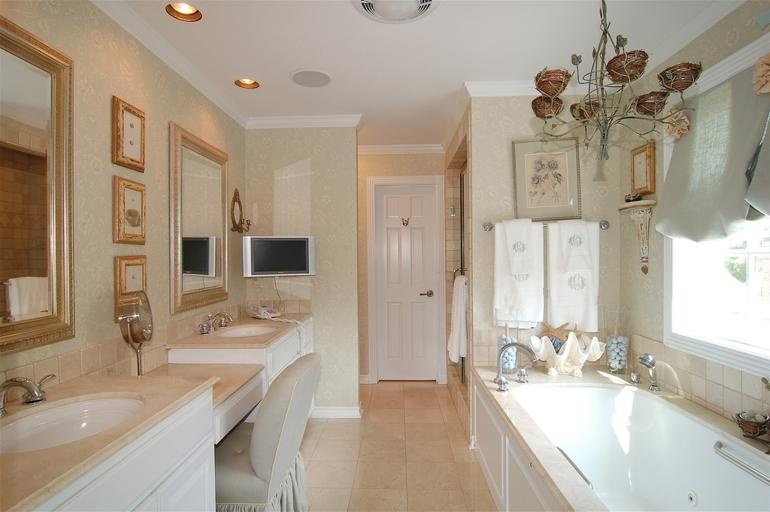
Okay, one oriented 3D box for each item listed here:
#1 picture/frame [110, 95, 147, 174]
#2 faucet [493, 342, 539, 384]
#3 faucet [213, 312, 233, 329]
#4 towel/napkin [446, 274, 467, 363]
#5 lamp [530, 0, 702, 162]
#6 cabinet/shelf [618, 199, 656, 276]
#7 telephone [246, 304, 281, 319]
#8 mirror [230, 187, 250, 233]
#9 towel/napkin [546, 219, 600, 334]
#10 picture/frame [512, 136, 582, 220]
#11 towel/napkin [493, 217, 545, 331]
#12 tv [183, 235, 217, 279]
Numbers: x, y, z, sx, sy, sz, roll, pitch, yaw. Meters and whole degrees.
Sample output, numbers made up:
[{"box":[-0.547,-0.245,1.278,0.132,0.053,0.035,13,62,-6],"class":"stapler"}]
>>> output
[{"box":[-1.645,-0.761,3.242,0.063,0.459,0.278,-2,8,15],"class":"picture/frame"},{"box":[0.957,0.740,3.736,0.284,0.334,0.620,-2,8,15],"class":"faucet"},{"box":[-1.291,0.505,4.031,0.075,0.104,0.166,4,7,26],"class":"faucet"},{"box":[0.658,0.551,4.609,0.195,0.702,0.396,-3,8,8],"class":"towel/napkin"},{"box":[1.465,-1.071,3.453,1.059,1.282,1.047,3,9,28],"class":"lamp"},{"box":[1.836,-0.136,3.778,0.192,0.546,0.322,-5,8,-4],"class":"cabinet/shelf"},{"box":[-1.075,0.488,4.412,0.337,0.107,0.168,0,8,27],"class":"telephone"},{"box":[-1.311,-0.392,4.553,0.090,0.400,0.301,-4,8,2],"class":"mirror"},{"box":[1.461,0.156,3.952,0.368,0.841,0.162,-2,8,17],"class":"towel/napkin"},{"box":[1.300,-0.599,4.029,0.664,0.788,0.034,-1,-5,2],"class":"picture/frame"},{"box":[1.034,0.117,3.954,0.369,0.776,0.138,-2,8,12],"class":"towel/napkin"},{"box":[-1.432,-0.003,3.885,0.233,0.382,0.457,0,1,2],"class":"tv"}]
